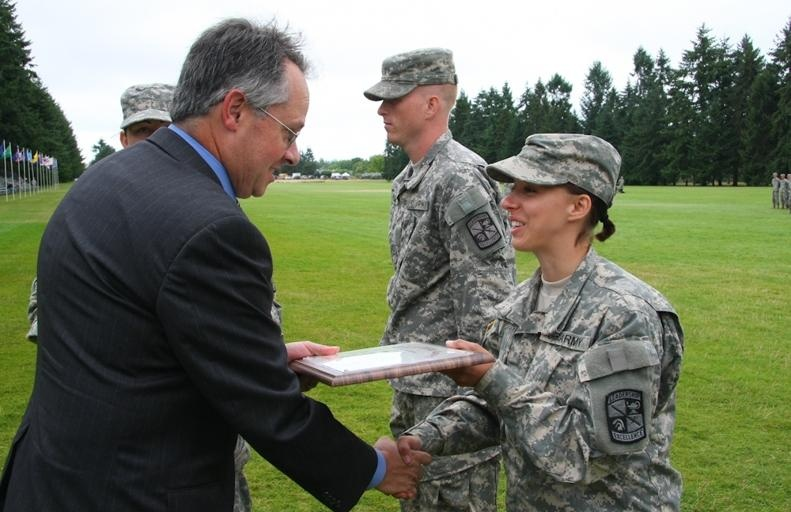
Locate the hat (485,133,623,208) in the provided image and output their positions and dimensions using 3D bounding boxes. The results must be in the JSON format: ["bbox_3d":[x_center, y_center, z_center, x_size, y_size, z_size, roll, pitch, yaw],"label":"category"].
[{"bbox_3d":[0.890,-0.481,3.427,0.616,0.262,0.414,6,0,-3],"label":"hat"}]
